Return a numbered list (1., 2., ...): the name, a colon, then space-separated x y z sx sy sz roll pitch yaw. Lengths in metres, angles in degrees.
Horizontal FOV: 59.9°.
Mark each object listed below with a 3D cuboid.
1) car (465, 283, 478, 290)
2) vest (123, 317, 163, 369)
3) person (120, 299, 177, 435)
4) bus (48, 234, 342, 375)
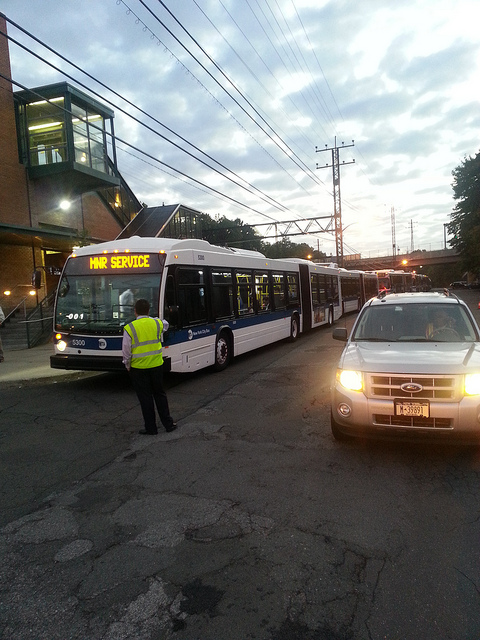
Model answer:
1. car: 39.065 -5.496 69.869 1.732 0.957 1.157 8 11 20
2. vest: -1.252 0.311 5.354 0.563 0.736 0.362 -6 8 -33
3. person: -1.213 0.630 5.485 0.625 1.788 0.341 -3 2 -19
4. bus: 0.638 -0.352 16.078 3.265 3.900 18.110 -1 1 21
